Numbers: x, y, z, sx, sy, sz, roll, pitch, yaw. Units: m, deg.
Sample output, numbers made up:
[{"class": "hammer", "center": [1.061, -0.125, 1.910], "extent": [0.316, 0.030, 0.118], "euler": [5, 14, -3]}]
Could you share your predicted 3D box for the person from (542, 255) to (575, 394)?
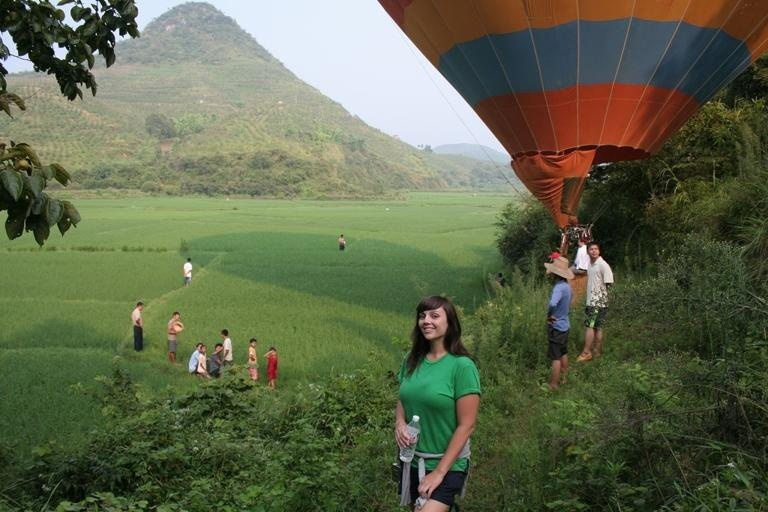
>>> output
[{"class": "person", "center": [2.967, 1.114, 9.779], "extent": [0.532, 2.189, 0.989], "euler": [7, 8, 19]}]

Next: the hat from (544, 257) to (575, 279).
[{"class": "hat", "center": [2.914, 0.215, 9.580], "extent": [0.412, 0.176, 0.411], "euler": [18, -5, 5]}]

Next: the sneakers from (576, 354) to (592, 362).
[{"class": "sneakers", "center": [3.643, 1.864, 10.415], "extent": [0.312, 0.126, 0.113], "euler": [-9, -13, -28]}]

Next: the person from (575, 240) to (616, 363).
[{"class": "person", "center": [3.839, 0.844, 10.399], "extent": [0.472, 2.175, 0.691], "euler": [8, 8, 21]}]
